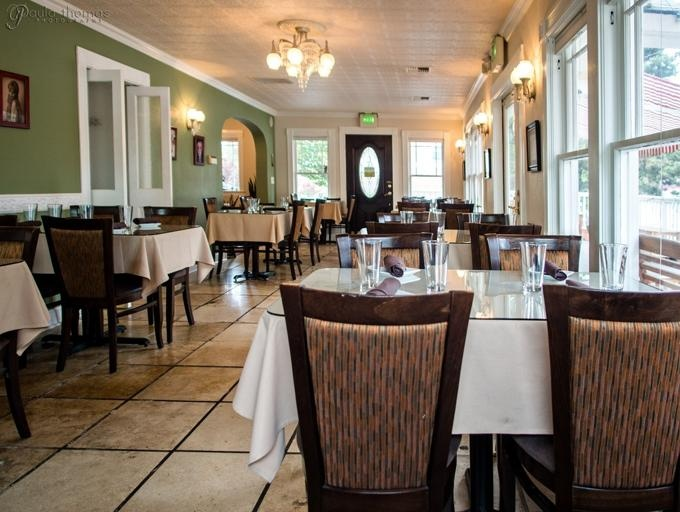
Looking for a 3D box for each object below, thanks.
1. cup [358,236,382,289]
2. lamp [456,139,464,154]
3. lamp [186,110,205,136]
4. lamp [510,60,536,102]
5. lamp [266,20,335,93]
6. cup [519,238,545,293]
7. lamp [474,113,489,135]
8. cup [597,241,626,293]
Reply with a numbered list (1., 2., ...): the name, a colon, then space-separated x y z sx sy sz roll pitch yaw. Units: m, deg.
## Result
1. cup: 0.114 0.022 1.985 0.109 0.193 0.111 -2 10 0
2. lamp: 2.727 -2.481 11.891 0.206 0.318 0.596 2 10 12
3. lamp: -2.185 -2.068 8.094 0.216 0.407 0.568 0 10 1
4. lamp: 1.784 -1.661 5.095 0.205 0.412 0.254 3 -2 18
5. lamp: -0.434 -2.264 5.792 0.690 0.763 0.738 1 3 -12
6. cup: 0.721 0.042 1.979 0.106 0.188 0.108 2 2 0
7. lamp: 2.133 -1.964 7.900 0.174 0.294 0.487 1 10 10
8. cup: 0.978 0.041 1.863 0.092 0.156 0.099 3 1 0
